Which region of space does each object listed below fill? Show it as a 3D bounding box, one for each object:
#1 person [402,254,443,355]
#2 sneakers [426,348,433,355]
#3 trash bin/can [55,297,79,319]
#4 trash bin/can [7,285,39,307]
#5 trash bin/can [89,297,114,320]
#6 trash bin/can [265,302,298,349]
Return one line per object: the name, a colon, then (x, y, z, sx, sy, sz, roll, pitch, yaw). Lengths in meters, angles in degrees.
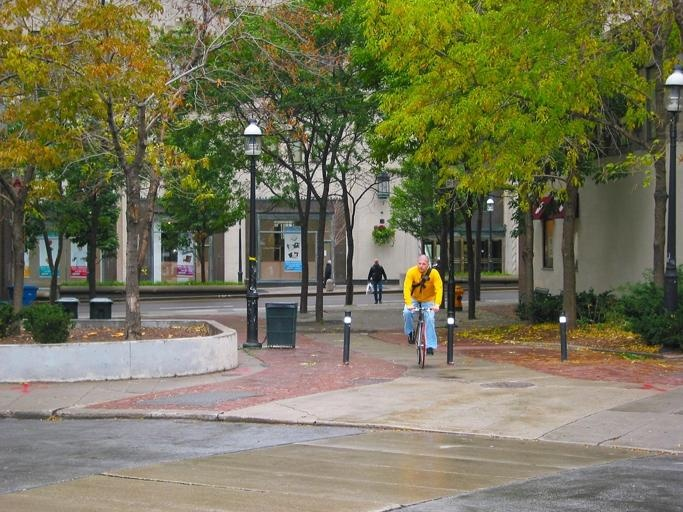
person: (1.669, 0.961, 24.101, 0.762, 2.057, 1.503, -2, -4, 4)
sneakers: (1.816, 1.920, 24.090, 0.147, 0.159, 0.114, 0, -14, -3)
trash bin/can: (-6.454, 1.218, 27.864, 0.550, 0.630, 0.578, 0, 1, -1)
trash bin/can: (-8.429, 1.033, 31.172, 0.492, 0.467, 0.432, 2, -8, -20)
trash bin/can: (-6.023, 1.305, 29.616, 0.497, 0.511, 0.573, -1, -4, -8)
trash bin/can: (-1.384, 1.597, 27.523, 0.743, 1.129, 0.990, 0, -2, -2)
